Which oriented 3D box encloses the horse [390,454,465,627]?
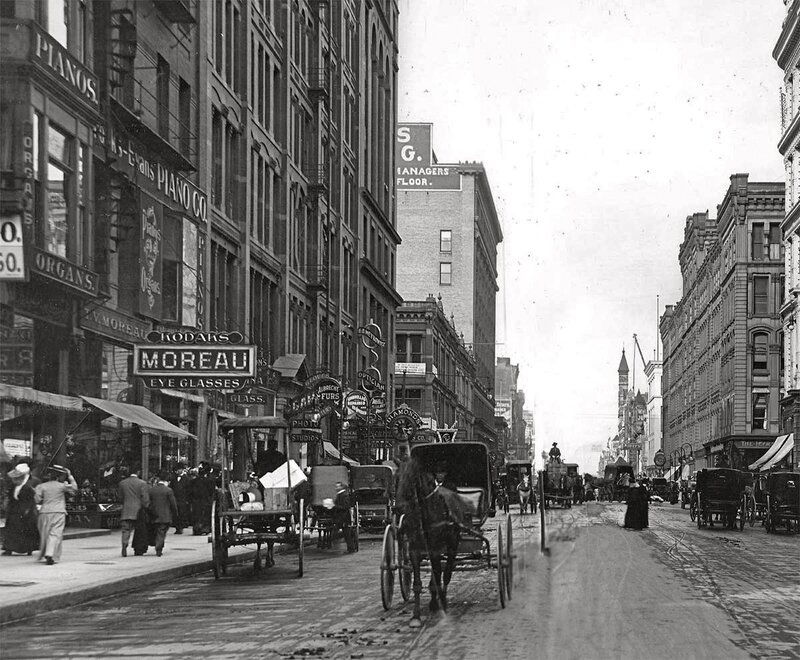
[{"bbox_3d":[0.468,3.698,25.323,0.791,3.015,1.905,-6,-13,22],"label":"horse"}]
